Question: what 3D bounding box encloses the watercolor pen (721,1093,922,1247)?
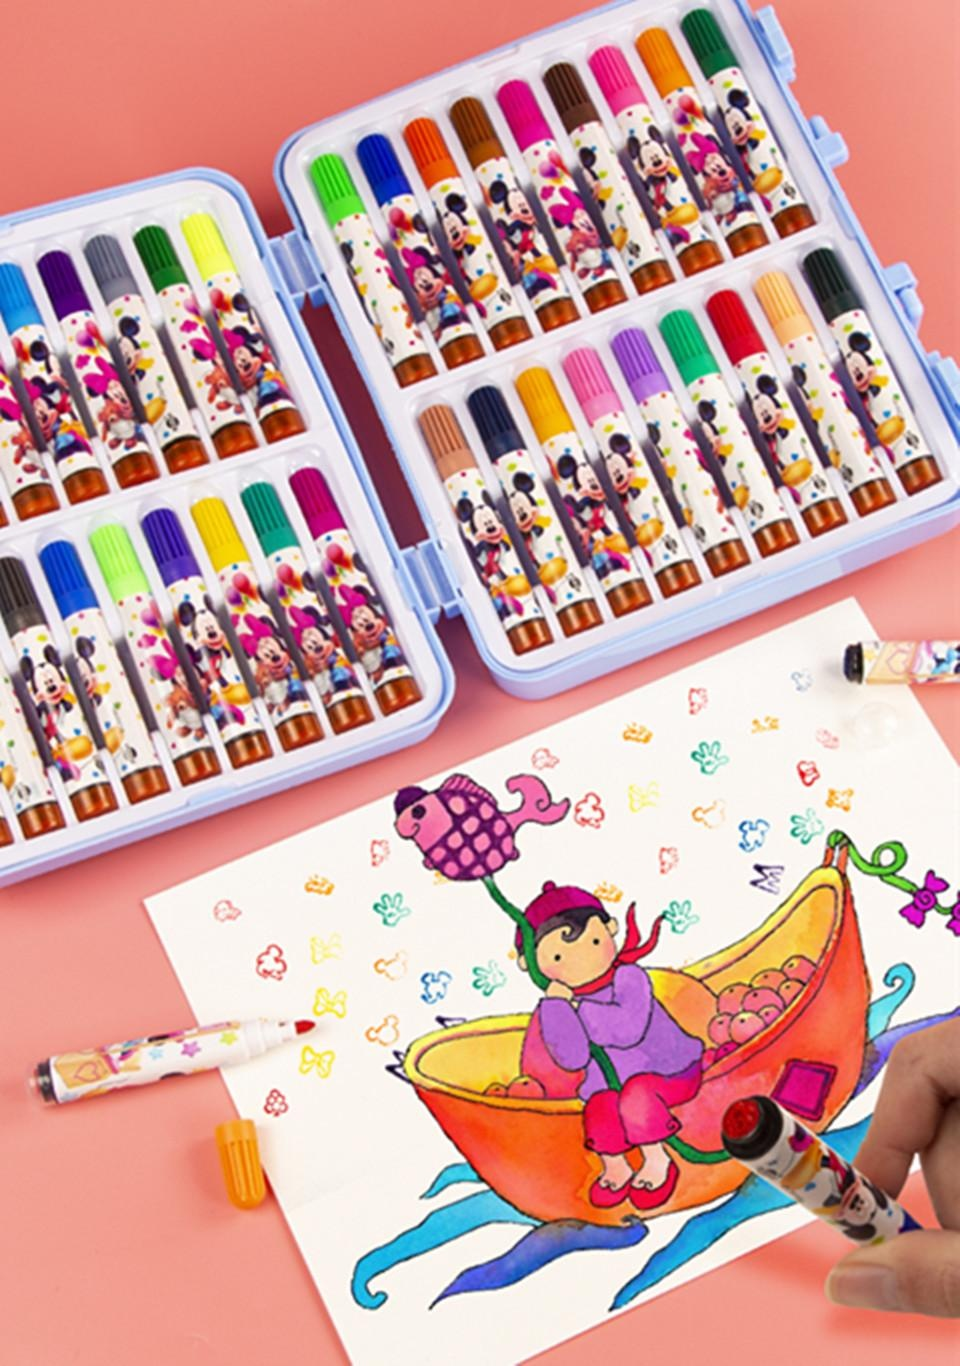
[{"bbox_3d":[0.194,0.282,0.704,0.047,0.097,0.155,-31,-11,12],"label":"watercolor pen"}]
